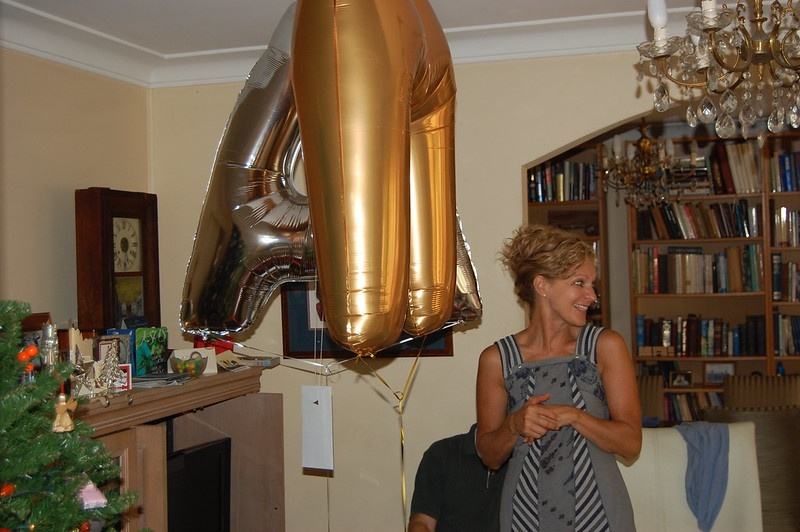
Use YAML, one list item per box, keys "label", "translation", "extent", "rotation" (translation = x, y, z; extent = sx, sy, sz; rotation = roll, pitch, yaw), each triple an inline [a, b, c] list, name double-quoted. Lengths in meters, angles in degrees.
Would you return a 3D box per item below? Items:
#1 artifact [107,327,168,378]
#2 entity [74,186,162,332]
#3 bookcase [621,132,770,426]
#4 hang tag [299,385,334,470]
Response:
- label: "artifact"
  translation: [-1.193, 0.388, 3.538]
  extent: [0.124, 0.251, 0.237]
  rotation: [-5, -6, 4]
- label: "entity"
  translation: [-1.387, -0.039, 3.799]
  extent: [0.414, 0.686, 0.274]
  rotation: [1, -4, -30]
- label: "bookcase"
  translation: [2.266, 0.171, 5.603]
  extent: [0.857, 2.361, 0.271]
  rotation: [-8, -45, 26]
- label: "hang tag"
  translation: [-0.360, 0.713, 3.426]
  extent: [0.135, 0.359, 0.144]
  rotation: [-2, -4, 7]
